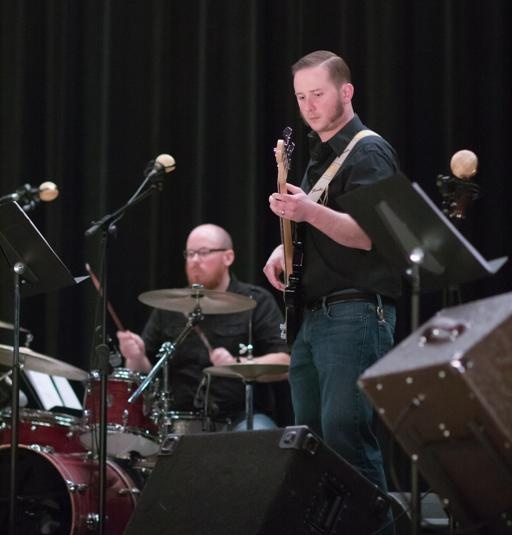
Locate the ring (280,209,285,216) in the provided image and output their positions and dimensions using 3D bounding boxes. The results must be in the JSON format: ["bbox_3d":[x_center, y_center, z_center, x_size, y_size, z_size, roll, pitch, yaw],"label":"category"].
[{"bbox_3d":[0.085,-0.179,3.080,0.006,0.020,0.018,-1,2,-26],"label":"ring"}]

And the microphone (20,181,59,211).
[{"bbox_3d":[-0.835,-0.284,3.767,0.128,0.115,0.164,-11,-7,10],"label":"microphone"}]

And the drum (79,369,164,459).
[{"bbox_3d":[-0.588,0.642,4.010,0.309,0.303,0.335,-14,-39,15],"label":"drum"}]

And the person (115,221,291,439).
[{"bbox_3d":[-0.235,0.394,4.616,0.763,1.262,0.723,3,15,7],"label":"person"}]

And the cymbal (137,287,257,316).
[{"bbox_3d":[-0.246,0.142,4.149,0.227,0.054,0.248,-4,-22,12],"label":"cymbal"}]

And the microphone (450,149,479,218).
[{"bbox_3d":[0.838,-0.345,3.869,0.116,0.190,0.208,-11,-7,15],"label":"microphone"}]

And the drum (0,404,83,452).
[{"bbox_3d":[-0.867,0.692,3.931,0.219,0.239,0.228,-30,-27,32],"label":"drum"}]
